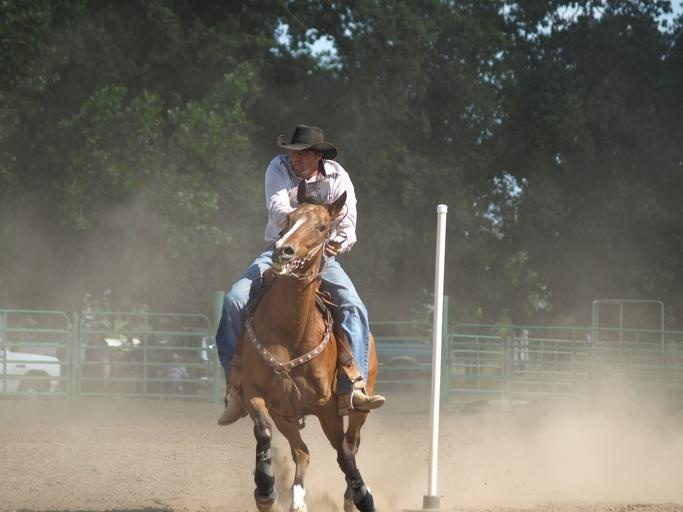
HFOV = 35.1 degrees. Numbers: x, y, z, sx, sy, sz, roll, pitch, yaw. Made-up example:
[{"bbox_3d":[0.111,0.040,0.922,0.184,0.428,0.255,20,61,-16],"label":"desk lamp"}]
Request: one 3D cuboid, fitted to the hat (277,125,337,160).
[{"bbox_3d":[-0.538,-2.133,19.111,0.767,0.353,0.700,18,-8,-25],"label":"hat"}]
